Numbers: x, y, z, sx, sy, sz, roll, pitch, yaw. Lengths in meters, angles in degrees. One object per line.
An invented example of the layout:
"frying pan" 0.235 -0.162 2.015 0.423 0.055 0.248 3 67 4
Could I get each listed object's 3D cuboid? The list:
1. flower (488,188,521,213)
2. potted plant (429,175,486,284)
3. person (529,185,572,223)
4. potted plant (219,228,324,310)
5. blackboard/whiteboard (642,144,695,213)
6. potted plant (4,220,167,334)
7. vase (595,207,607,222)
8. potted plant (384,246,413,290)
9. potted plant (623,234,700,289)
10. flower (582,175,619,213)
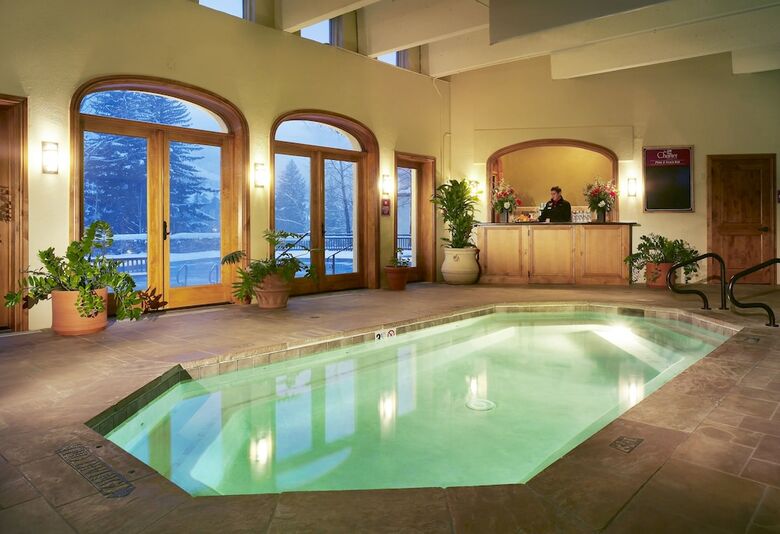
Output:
"flower" 2.809 -1.577 11.177 0.595 0.620 0.598 -1 2 -41
"potted plant" 1.617 -0.867 10.878 1.088 2.426 1.143 1 6 11
"person" 4.092 -1.549 11.266 0.656 0.820 0.677 4 7 39
"potted plant" -2.135 0.052 7.831 1.381 0.985 1.372 0 -1 -28
"blackboard/whiteboard" 6.738 -2.108 10.985 1.584 2.257 0.176 0 -1 4
"potted plant" -3.818 0.081 6.070 1.293 1.281 1.725 2 4 16
"vase" 4.998 -1.241 10.803 0.275 0.301 0.228 0 6 2
"potted plant" 0.142 0.047 9.864 0.645 0.830 0.669 -4 3 -10
"potted plant" 6.219 -0.198 10.587 1.738 1.150 0.956 -4 7 -30
"flower" 5.159 -1.715 11.201 0.871 1.160 0.976 2 3 30
